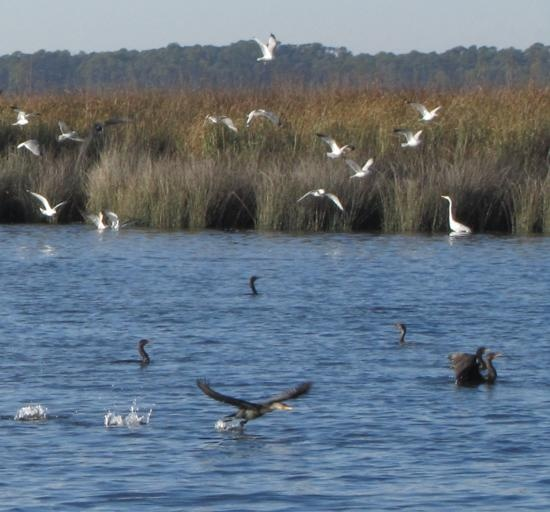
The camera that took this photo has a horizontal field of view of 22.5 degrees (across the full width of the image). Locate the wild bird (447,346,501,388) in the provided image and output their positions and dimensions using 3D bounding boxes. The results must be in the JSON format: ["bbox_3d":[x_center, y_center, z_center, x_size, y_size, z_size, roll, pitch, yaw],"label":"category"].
[{"bbox_3d":[2.624,1.435,18.106,0.715,0.444,0.508,-1,4,-34],"label":"wild bird"}]

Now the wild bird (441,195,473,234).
[{"bbox_3d":[3.904,-0.877,29.782,0.629,0.836,1.532,2,3,7],"label":"wild bird"}]

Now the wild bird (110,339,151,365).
[{"bbox_3d":[-1.925,1.290,18.708,0.404,0.274,0.352,-1,-1,2],"label":"wild bird"}]
